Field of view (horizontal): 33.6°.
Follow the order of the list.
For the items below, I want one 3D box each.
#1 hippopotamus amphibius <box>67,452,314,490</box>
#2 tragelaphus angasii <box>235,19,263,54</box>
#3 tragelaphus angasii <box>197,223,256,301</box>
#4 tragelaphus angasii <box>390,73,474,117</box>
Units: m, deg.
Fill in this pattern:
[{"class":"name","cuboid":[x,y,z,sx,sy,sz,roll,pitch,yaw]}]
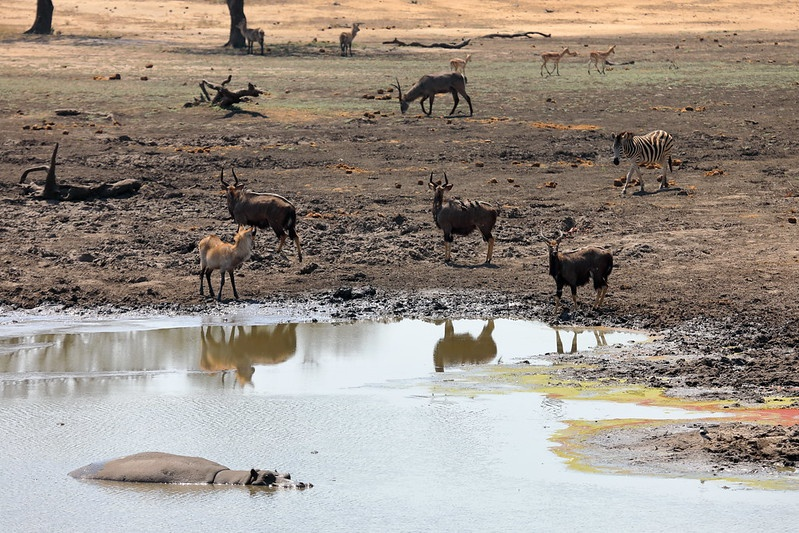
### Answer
[{"class":"hippopotamus amphibius","cuboid":[-3.795,3.523,23.019,4.646,0.623,1.258,1,-2,3]},{"class":"tragelaphus angasii","cuboid":[-7.063,-10.906,62.801,1.724,1.492,0.554,18,28,37]},{"class":"tragelaphus angasii","cuboid":[-3.831,-0.070,29.367,0.524,1.621,2.292,-1,4,-41]},{"class":"tragelaphus angasii","cuboid":[1.326,-6.006,47.019,2.456,1.591,4.029,-1,3,3]}]
